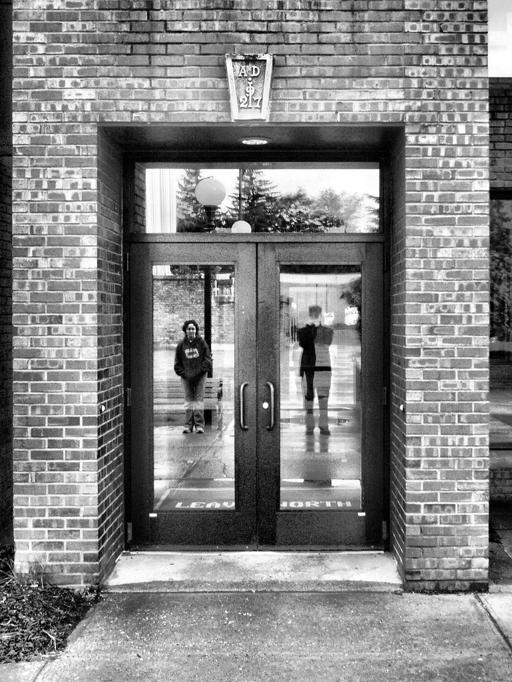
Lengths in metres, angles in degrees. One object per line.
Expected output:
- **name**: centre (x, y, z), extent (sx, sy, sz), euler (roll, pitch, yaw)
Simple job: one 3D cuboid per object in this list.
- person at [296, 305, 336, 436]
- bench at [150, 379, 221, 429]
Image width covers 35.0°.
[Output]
- **person**: centre (0.426, 0.261, 5.872), extent (0.214, 1.067, 0.267), euler (0, -36, 4)
- **bench**: centre (-0.400, 0.433, 5.650), extent (0.131, 0.299, 0.405), euler (18, -1, 18)
